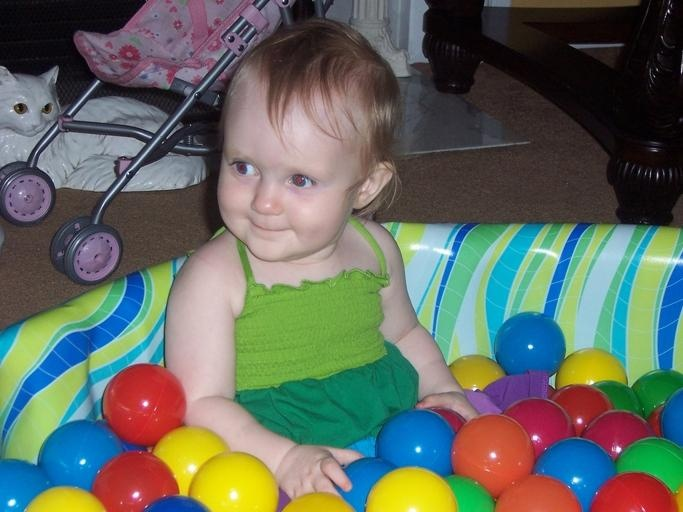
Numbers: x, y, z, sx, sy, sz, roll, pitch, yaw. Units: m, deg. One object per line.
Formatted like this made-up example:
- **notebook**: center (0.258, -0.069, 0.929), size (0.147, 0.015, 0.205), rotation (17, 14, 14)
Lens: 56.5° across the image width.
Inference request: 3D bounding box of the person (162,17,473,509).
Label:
- **person**: center (-0.054, 0.061, 1.182), size (0.501, 0.883, 0.544), rotation (23, 36, 30)
